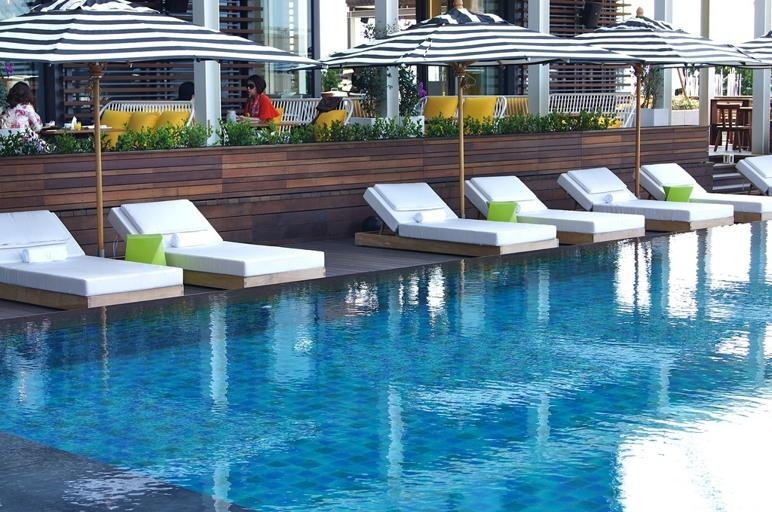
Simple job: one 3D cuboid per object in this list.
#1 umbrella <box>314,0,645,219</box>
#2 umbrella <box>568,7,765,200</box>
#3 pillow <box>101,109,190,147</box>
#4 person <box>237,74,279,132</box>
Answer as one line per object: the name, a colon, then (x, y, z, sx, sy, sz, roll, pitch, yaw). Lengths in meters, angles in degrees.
umbrella: (1.289, -2.360, 13.435, 4.143, 2.299, 3.638, -3, 9, -8)
umbrella: (4.782, -2.604, 14.970, 3.684, 2.579, 3.243, 0, 8, -5)
pillow: (-3.668, -1.954, 13.229, 1.320, 0.434, 0.428, 0, 28, 16)
person: (-2.302, -2.734, 15.302, 0.689, 0.802, 0.968, -15, 18, -41)
